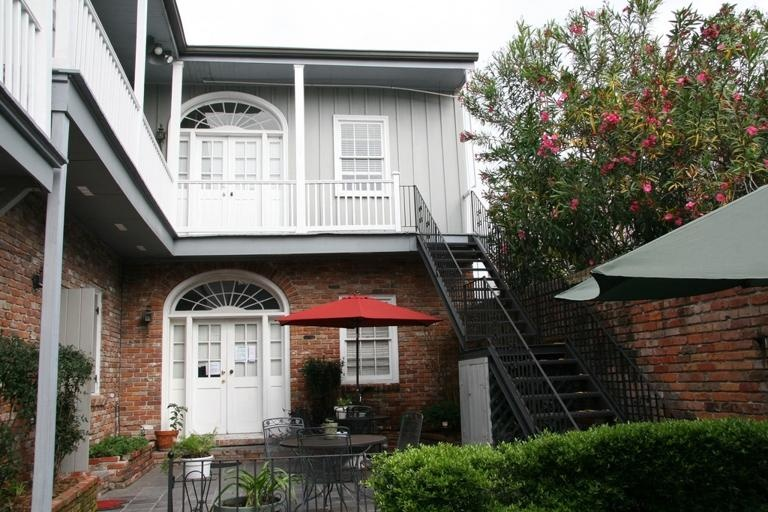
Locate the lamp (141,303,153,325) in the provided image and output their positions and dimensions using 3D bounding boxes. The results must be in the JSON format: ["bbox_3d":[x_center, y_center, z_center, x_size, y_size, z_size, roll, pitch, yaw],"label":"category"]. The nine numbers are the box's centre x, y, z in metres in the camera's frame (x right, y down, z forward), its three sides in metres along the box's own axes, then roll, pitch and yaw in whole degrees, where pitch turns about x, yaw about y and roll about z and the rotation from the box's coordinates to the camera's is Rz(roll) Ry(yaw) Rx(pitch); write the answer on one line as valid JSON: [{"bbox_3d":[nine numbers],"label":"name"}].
[{"bbox_3d":[-4.915,1.226,12.533,0.298,0.440,0.188,-20,-25,40],"label":"lamp"}]

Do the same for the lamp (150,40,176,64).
[{"bbox_3d":[-4.495,-4.035,12.175,0.346,0.420,0.505,-1,-42,-15],"label":"lamp"}]
